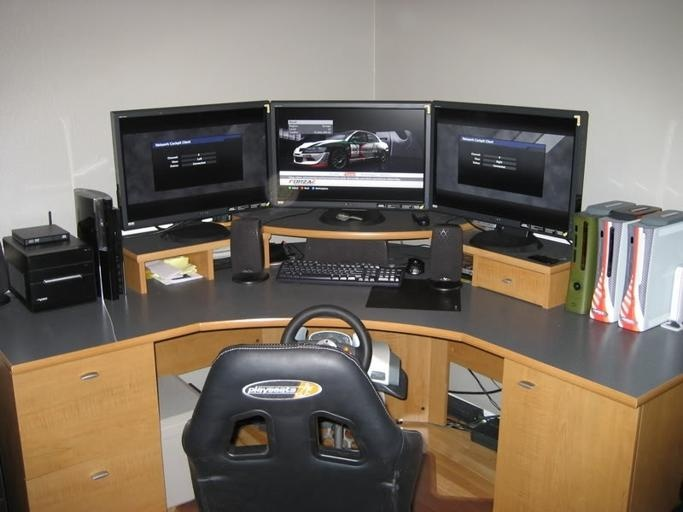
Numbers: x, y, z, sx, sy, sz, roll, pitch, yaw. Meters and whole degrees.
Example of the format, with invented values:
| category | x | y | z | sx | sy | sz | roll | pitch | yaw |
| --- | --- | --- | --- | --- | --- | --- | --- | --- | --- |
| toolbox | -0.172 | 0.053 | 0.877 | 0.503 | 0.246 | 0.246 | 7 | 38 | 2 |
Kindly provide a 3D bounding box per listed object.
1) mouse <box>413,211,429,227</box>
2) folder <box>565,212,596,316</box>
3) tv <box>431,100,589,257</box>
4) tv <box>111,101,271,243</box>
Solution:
| category | x | y | z | sx | sy | sz | roll | pitch | yaw |
| --- | --- | --- | --- | --- | --- | --- | --- | --- | --- |
| mouse | 0.371 | -0.171 | 2.561 | 0.055 | 0.037 | 0.091 | -3 | 23 | 2 |
| folder | 0.927 | 0.032 | 2.085 | 0.075 | 0.359 | 0.122 | 0 | 7 | -23 |
| tv | 0.697 | -0.316 | 2.255 | 0.528 | 0.504 | 0.192 | 17 | 29 | 36 |
| tv | -0.647 | -0.361 | 2.367 | 0.545 | 0.399 | 0.130 | -12 | 18 | -30 |
